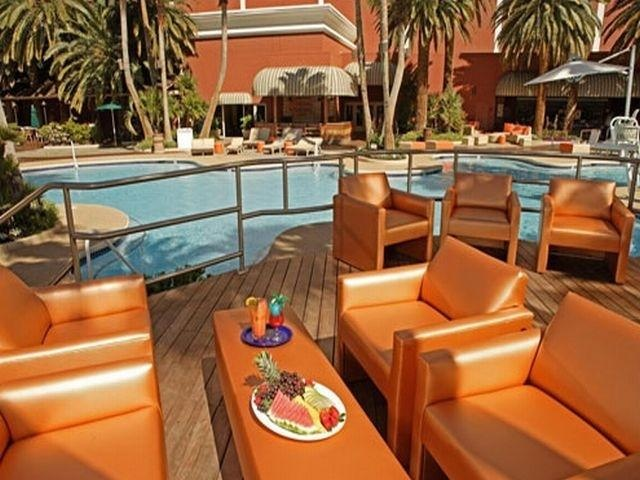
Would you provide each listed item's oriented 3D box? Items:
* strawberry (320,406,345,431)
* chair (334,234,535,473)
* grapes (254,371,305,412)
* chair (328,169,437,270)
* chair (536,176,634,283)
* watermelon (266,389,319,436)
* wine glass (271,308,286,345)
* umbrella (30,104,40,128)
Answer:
[{"bbox_3d":[0.054,0.942,2.317,0.099,0.050,0.120,-6,56,-15],"label":"strawberry"},{"bbox_3d":[0.747,0.728,3.256,1.073,1.243,1.253,0,14,-7],"label":"chair"},{"bbox_3d":[-0.219,0.775,2.463,0.273,0.215,0.262,12,13,37],"label":"grapes"},{"bbox_3d":[0.770,-0.235,5.526,0.872,1.142,0.914,-10,18,-31],"label":"chair"},{"bbox_3d":[3.087,-0.182,5.278,0.898,1.067,0.871,7,16,27],"label":"chair"},{"bbox_3d":[-0.142,0.913,2.329,0.273,0.169,0.098,2,14,9],"label":"watermelon"},{"bbox_3d":[-0.299,0.574,3.031,0.105,0.195,0.096,-6,10,-40],"label":"wine glass"},{"bbox_3d":[-19.619,-8.802,30.441,0.407,1.503,1.083,-11,18,-38],"label":"umbrella"}]
